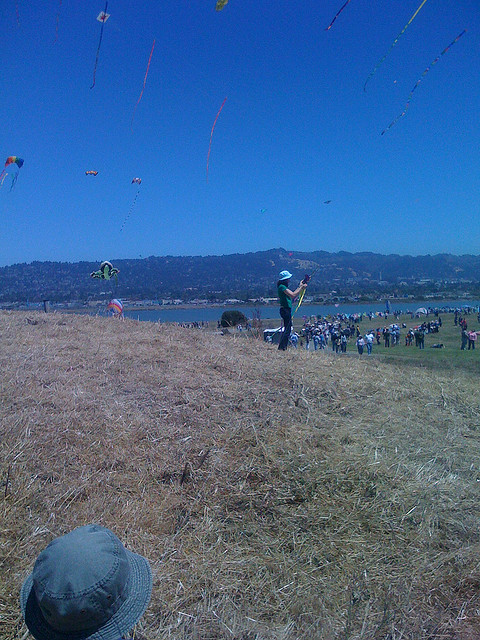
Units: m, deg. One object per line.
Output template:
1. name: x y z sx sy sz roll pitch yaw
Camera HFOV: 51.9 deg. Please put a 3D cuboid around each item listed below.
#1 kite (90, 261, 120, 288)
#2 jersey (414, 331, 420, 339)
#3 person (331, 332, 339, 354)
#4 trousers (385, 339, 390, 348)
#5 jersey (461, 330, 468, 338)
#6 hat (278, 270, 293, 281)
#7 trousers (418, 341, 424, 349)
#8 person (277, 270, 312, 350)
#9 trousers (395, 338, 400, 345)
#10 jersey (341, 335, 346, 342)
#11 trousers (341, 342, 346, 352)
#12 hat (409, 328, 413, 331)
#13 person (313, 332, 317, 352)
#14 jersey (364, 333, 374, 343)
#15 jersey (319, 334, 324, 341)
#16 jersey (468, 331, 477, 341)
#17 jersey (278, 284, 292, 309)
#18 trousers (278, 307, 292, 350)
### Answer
1. kite: -3.057 -1.123 11.124 0.559 0.426 1.121 6 6 -18
2. jersey: 8.100 0.709 22.564 0.126 0.234 0.452 7 5 19
3. person: 4.517 1.035 23.318 0.296 0.817 1.024 6 5 13
4. trousers: 7.658 1.233 25.657 0.268 0.233 0.698 -12 10 6
5. jersey: 10.115 0.632 22.209 0.183 0.283 0.246 11 16 -42
6. hat: 0.800 -0.789 8.713 0.191 0.164 0.392 8 5 6
7. trousers: 8.399 1.152 22.880 0.278 0.394 0.813 8 5 21
8. person: 0.905 -0.153 8.891 0.547 1.429 1.085 6 5 4
9. trousers: 8.617 1.165 27.054 0.113 0.389 0.721 8 5 27
10. jersey: 4.796 0.894 22.850 0.221 0.222 0.407 8 5 13
11. trousers: 4.824 1.249 23.027 0.207 0.478 0.674 6 5 10
12. hat: 9.998 0.549 28.841 0.080 0.144 0.120 2 -9 -11
13. person: 3.867 1.128 25.437 0.170 0.896 0.311 -2 -3 -24
14. jersey: 5.794 0.817 22.190 0.371 0.259 0.738 -1 7 13
15. jersey: 4.151 0.905 25.283 0.244 0.219 0.354 23 6 -14
16. jersey: 9.962 0.681 21.145 0.286 0.344 0.243 -16 11 5
17. jersey: 0.780 -0.416 8.555 0.168 0.389 0.358 -14 28 2
18. trousers: 0.824 0.160 8.887 0.209 0.885 0.213 -1 -5 38
